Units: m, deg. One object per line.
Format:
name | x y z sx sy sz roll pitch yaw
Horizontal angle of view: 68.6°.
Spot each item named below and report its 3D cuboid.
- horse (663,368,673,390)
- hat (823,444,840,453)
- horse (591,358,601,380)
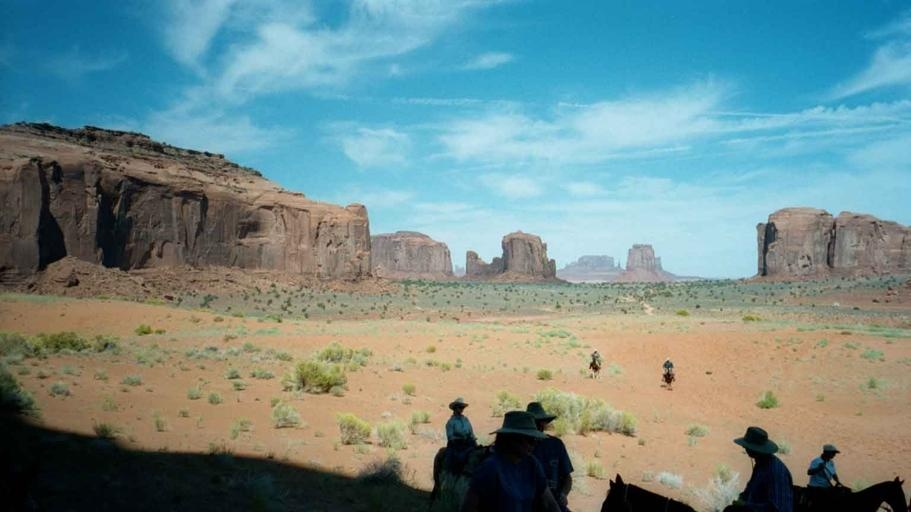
horse | 14.100 8.078 44.221 0.637 1.256 1.145 0 -5 15
hat | 17.995 9.221 32.113 0.530 0.437 1.098 -2 -6 32
horse | 9.667 7.701 46.005 0.588 1.259 1.379 1 -5 9
